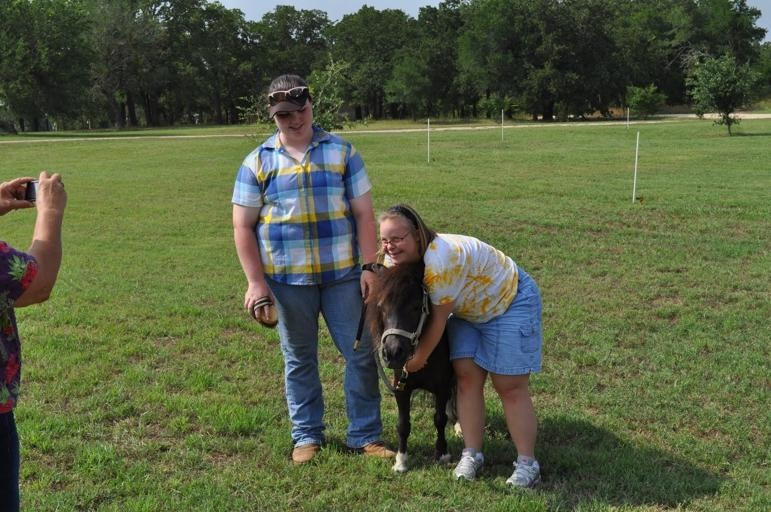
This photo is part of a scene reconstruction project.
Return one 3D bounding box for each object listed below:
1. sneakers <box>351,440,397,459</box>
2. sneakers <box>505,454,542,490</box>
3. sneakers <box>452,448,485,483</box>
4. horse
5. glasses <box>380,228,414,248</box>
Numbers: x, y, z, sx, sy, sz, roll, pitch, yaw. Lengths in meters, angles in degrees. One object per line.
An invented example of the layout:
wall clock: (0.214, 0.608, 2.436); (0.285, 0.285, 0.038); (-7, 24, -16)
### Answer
sneakers: (-0.114, 2.257, 8.867); (0.523, 0.235, 0.190); (-2, 1, 21)
sneakers: (1.599, 2.464, 8.458); (0.203, 0.280, 0.569); (0, 6, 21)
sneakers: (0.957, 2.390, 8.546); (0.225, 0.311, 0.643); (-4, 3, 20)
horse: (0.558, 1.336, 9.087); (0.667, 2.449, 2.763); (0, -2, 20)
glasses: (0.126, -0.189, 8.167); (0.301, 0.180, 0.069); (-1, 8, 6)
